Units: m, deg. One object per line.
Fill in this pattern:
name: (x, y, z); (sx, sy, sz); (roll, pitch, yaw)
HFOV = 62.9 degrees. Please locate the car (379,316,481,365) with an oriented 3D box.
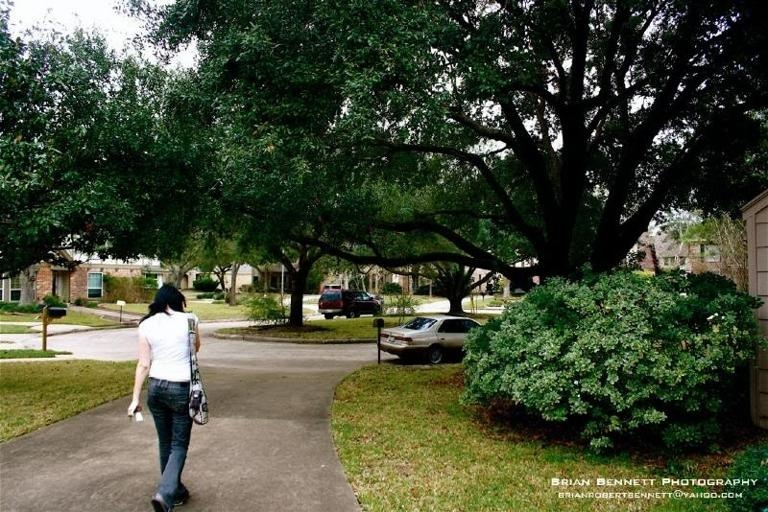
car: (1.691, 2.715, 21.135); (3.292, 0.955, 1.523); (-3, 2, -29)

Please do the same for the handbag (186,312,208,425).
handbag: (-3.054, 1.841, 10.123); (0.400, 1.617, 0.530); (-5, -4, 2)

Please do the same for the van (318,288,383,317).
van: (-2.217, 3.145, 42.081); (3.777, 1.526, 1.834); (-2, 2, -39)

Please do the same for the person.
person: (-3.435, 2.181, 9.966); (0.899, 3.428, 0.920); (4, 4, 29)
